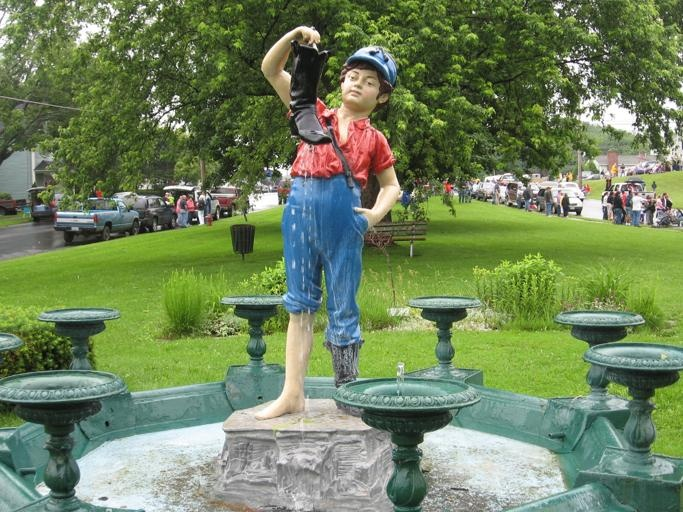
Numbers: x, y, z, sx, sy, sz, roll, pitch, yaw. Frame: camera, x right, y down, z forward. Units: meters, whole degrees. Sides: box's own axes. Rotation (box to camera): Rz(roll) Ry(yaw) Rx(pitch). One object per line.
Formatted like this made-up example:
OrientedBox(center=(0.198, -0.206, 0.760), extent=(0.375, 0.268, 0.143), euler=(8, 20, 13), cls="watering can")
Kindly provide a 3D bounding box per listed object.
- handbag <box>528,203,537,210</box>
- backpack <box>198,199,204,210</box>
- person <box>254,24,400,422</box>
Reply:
OrientedBox(center=(11.803, -3.076, 46.330), extent=(0.476, 0.463, 0.483), euler=(2, -3, -45), cls="handbag")
OrientedBox(center=(-6.928, -2.626, 37.344), extent=(0.310, 0.594, 0.495), euler=(-3, 4, -11), cls="backpack")
OrientedBox(center=(-0.062, -0.210, 5.398), extent=(1.010, 2.591, 0.395), euler=(-3, 3, -8), cls="person")
